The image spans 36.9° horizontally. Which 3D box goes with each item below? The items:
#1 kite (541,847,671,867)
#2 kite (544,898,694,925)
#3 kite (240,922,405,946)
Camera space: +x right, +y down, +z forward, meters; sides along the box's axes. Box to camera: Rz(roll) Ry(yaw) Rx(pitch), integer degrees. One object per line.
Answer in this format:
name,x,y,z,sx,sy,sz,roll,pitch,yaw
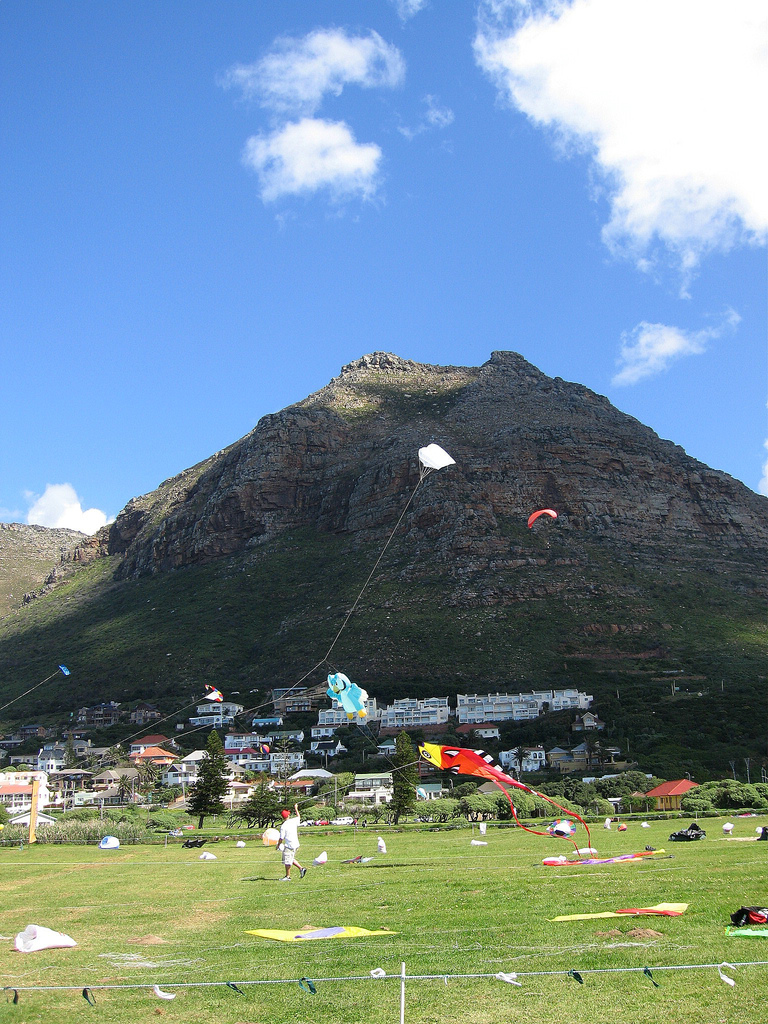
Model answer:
kite,6.871,11.161,36.697,3.496,0.227,4.400,-7,-13,25
kite,4.879,8.250,23.569,2.541,0.208,1.457,-3,-12,9
kite,-1.417,8.876,24.070,3.265,0.143,1.323,-7,-13,27
